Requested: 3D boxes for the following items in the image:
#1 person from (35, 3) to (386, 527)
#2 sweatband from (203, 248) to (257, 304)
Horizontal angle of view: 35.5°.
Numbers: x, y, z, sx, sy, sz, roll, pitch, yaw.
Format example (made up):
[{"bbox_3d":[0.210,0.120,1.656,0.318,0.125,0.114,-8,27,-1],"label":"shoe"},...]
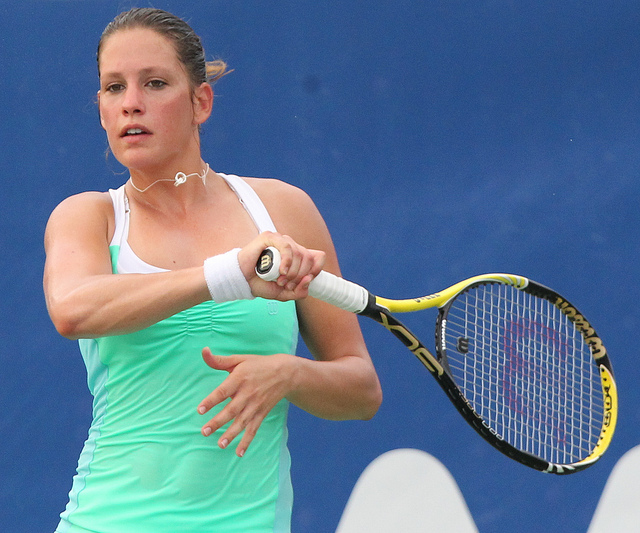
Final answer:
[{"bbox_3d":[-0.373,0.014,2.930,0.954,1.246,0.450,-9,-3,-6],"label":"person"},{"bbox_3d":[-0.257,0.026,2.768,0.130,0.124,0.053,-9,-3,-4],"label":"sweatband"}]
